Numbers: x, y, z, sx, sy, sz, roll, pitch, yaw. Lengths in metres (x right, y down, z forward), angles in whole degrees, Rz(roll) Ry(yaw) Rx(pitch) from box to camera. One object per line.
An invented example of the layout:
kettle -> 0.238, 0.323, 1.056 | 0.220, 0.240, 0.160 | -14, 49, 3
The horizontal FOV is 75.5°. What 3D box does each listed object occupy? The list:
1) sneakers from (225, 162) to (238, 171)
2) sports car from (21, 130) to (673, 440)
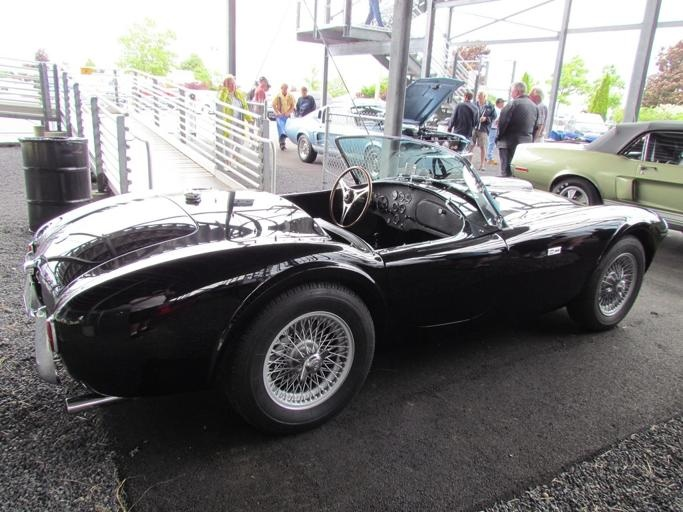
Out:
sneakers -> -2.010, -1.635, 8.022 | 0.202, 0.155, 0.203 | -12, 20, -33
sports car -> 0.363, 0.000, 3.394 | 4.485, 1.493, 2.214 | -11, 21, -24
